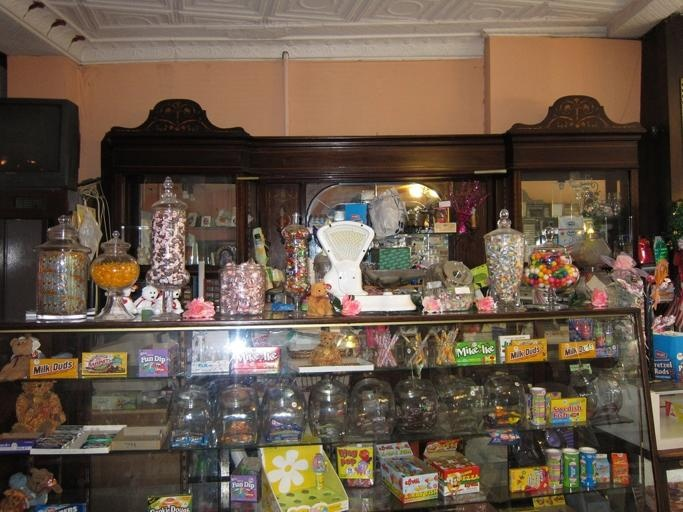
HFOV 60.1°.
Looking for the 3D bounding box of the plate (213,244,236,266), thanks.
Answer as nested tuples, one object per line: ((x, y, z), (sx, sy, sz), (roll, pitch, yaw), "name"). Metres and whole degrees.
((-1.033, -0.008, 5.224), (0.255, 0.263, 0.079), (-2, -4, 17), "plate")

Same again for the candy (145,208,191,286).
((-0.952, -0.043, 3.223), (0.207, 0.435, 0.130), (-1, -3, -24), "candy")

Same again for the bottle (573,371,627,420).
((1.493, 0.803, 3.517), (0.296, 0.280, 0.226), (-3, 2, -20), "bottle")

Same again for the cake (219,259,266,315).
((-0.545, 0.175, 3.255), (0.249, 0.301, 0.177), (-2, -3, -12), "cake")

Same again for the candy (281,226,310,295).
((-0.257, 0.019, 3.442), (0.151, 0.405, 0.167), (-2, -3, -4), "candy")

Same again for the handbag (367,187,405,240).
((0.401, -0.365, 5.236), (0.208, 0.396, 0.307), (-21, -9, -44), "handbag")

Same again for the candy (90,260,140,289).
((-1.206, 0.098, 3.131), (0.172, 0.142, 0.174), (0, 3, -6), "candy")

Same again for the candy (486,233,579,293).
((1.120, 0.017, 3.513), (0.477, 0.351, 0.327), (-2, 6, 2), "candy")

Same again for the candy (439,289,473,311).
((0.667, 0.247, 3.384), (0.216, 0.136, 0.126), (-2, -2, -5), "candy")
